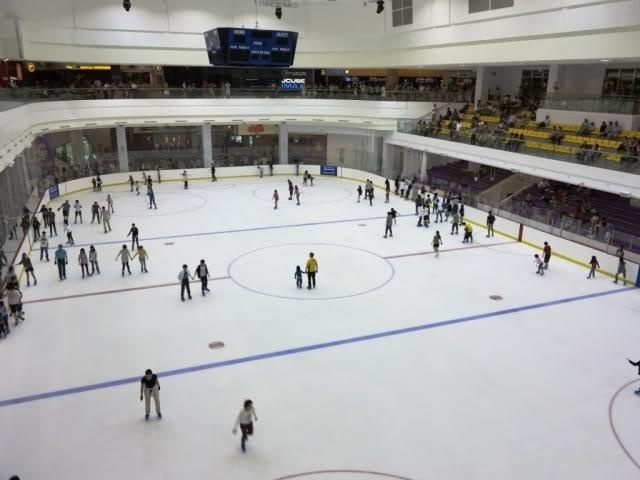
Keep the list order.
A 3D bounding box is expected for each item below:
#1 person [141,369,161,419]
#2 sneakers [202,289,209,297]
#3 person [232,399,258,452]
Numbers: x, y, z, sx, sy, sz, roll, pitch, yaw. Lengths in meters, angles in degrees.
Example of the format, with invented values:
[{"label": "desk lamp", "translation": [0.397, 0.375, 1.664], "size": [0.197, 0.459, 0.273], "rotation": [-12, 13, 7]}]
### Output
[{"label": "person", "translation": [-4.586, 4.155, 13.001], "size": [0.513, 1.477, 0.301], "rotation": [-8, 18, -27]}, {"label": "sneakers", "translation": [-4.664, 2.141, 19.554], "size": [0.189, 0.114, 0.276], "rotation": [7, 16, -9]}, {"label": "person", "translation": [-1.924, 4.578, 12.415], "size": [0.593, 1.352, 1.112], "rotation": [-5, 21, -8]}]
